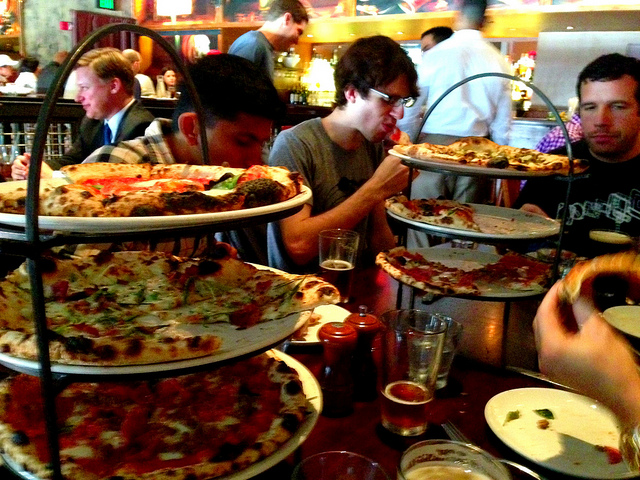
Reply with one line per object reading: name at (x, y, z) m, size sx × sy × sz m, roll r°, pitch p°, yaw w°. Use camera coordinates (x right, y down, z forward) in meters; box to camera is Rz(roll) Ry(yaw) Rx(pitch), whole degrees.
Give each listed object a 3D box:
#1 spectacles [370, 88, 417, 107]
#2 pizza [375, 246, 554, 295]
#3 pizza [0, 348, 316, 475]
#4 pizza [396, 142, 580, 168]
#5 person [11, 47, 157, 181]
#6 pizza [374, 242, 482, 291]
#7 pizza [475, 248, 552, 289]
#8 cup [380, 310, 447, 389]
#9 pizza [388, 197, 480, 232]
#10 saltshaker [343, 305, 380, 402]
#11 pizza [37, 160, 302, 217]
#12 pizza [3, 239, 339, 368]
spectacles at (0.329, -0.600, 2.317) m, size 0.117 × 0.026 × 0.120 m, roll 28°, pitch 22°, yaw 34°
pizza at (0.384, 0.081, 1.511) m, size 0.387 × 0.029 × 0.288 m, roll -4°, pitch 26°, yaw -19°
pizza at (-0.281, 0.317, 0.959) m, size 0.421 × 0.030 × 0.311 m, roll 0°, pitch 7°, yaw -15°
pizza at (0.540, -0.287, 1.789) m, size 0.455 × 0.030 × 0.360 m, roll 5°, pitch 8°, yaw 3°
person at (-1.578, -0.810, 3.632) m, size 1.301 × 0.785 × 0.776 m, roll -7°, pitch 17°, yaw -34°
pizza at (0.320, 0.070, 1.554) m, size 0.296 × 0.055 × 0.466 m, roll 5°, pitch 11°, yaw 15°
pizza at (0.554, 0.082, 1.532) m, size 0.150 × 0.015 × 0.139 m, roll -20°, pitch 25°, yaw -41°
cup at (0.186, 0.232, 1.165) m, size 0.203 × 0.138 × 0.159 m, roll 1°, pitch 8°, yaw -1°
pizza at (0.351, -0.087, 1.636) m, size 0.306 × 0.026 × 0.314 m, roll 6°, pitch 18°, yaw 1°
saltshaker at (0.097, 0.250, 1.217) m, size 0.087 × 0.200 × 0.120 m, roll 5°, pitch 15°, yaw 0°
pizza at (-0.256, -0.101, 0.971) m, size 0.440 × 0.060 × 0.462 m, roll -2°, pitch 11°, yaw -21°
pizza at (-0.302, 0.108, 0.987) m, size 0.476 × 0.043 × 0.285 m, roll -1°, pitch 12°, yaw -21°
